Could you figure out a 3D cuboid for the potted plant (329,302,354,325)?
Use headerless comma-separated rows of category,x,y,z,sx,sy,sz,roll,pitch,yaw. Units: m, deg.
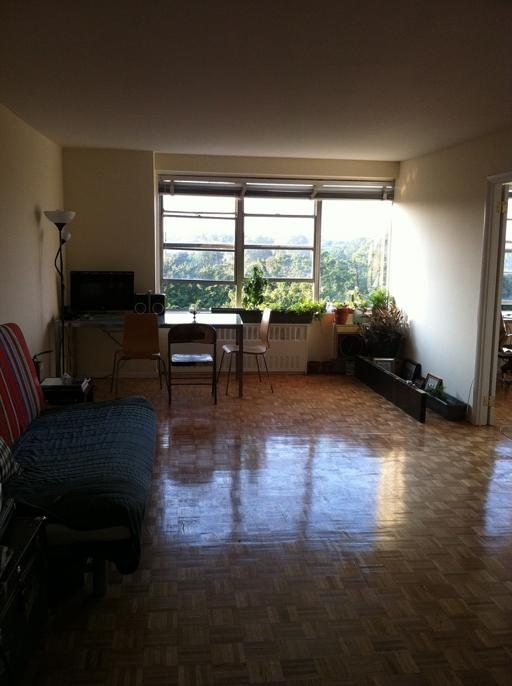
potted plant,1.162,-0.399,6.689,0.259,0.221,0.261,-6,11,-28

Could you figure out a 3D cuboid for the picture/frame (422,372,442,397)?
picture/frame,1.859,0.436,5.264,0.025,0.213,0.204,11,8,-9

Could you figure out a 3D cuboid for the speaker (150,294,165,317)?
speaker,-1.108,-0.437,5.903,0.192,0.276,0.333,-3,-10,-6

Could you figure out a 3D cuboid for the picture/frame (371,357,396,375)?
picture/frame,1.542,0.253,6.026,0.268,0.295,0.160,0,-1,0
